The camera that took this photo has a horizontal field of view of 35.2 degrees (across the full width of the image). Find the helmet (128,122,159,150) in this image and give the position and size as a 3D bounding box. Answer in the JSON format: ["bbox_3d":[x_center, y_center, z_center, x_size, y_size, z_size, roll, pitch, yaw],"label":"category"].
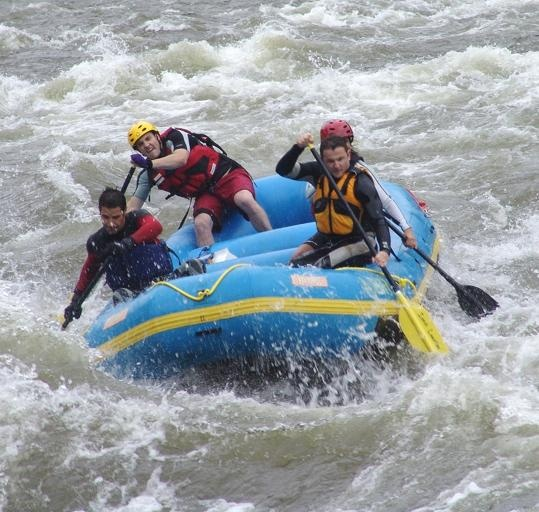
[{"bbox_3d":[-1.170,-1.122,7.824,0.216,0.241,0.237,4,28,7],"label":"helmet"}]

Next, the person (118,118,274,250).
[{"bbox_3d":[-0.751,-0.713,8.821,1.546,0.939,1.928,2,26,-31],"label":"person"}]

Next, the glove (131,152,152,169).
[{"bbox_3d":[-1.125,-0.868,7.589,0.125,0.173,0.064,-21,43,59],"label":"glove"}]

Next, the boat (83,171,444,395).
[{"bbox_3d":[0.056,0.044,7.741,2.980,0.875,2.990,6,26,12],"label":"boat"}]

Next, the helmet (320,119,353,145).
[{"bbox_3d":[0.609,-1.059,7.341,0.312,0.250,0.218,-8,22,-22],"label":"helmet"}]
